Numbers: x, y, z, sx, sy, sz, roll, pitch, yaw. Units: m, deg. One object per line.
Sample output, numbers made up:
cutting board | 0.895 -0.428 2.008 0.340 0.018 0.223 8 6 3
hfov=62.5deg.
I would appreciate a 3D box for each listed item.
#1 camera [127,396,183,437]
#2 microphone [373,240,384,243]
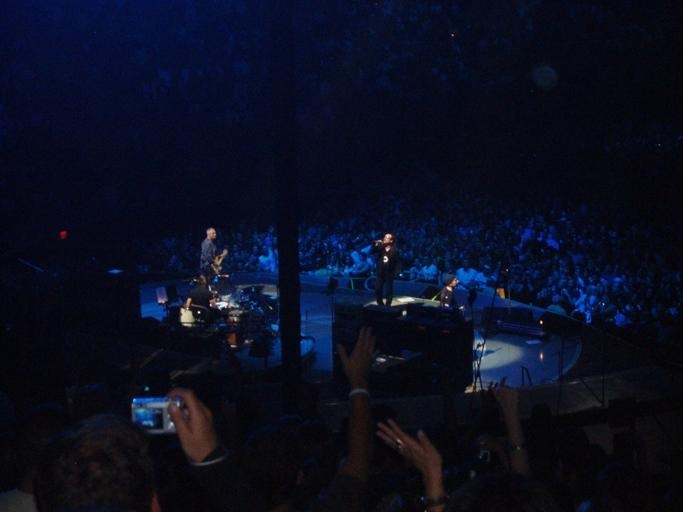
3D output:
camera | -1.501 1.294 4.543 0.386 0.281 0.232 3 -7 -16
microphone | 0.558 -0.213 8.534 0.109 0.027 0.100 -4 1 -43
